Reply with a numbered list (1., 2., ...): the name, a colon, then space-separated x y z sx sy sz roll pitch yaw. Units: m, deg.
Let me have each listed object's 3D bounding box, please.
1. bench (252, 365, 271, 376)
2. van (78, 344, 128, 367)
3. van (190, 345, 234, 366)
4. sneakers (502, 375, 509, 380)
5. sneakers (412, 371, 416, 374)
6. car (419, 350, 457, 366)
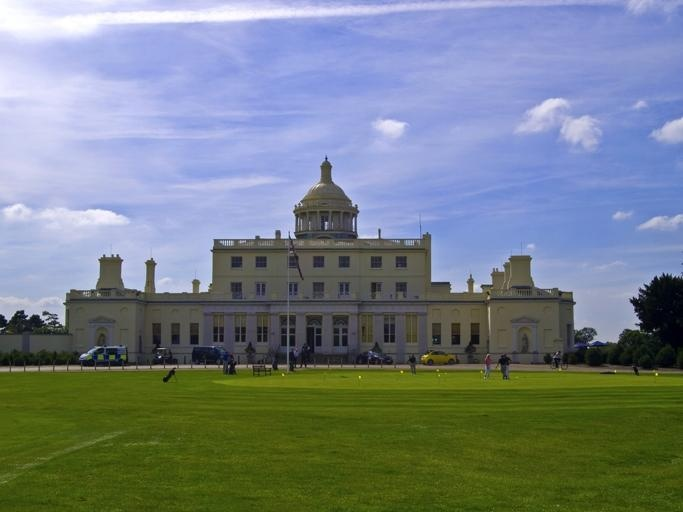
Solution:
1. bench: -5.321 7.631 82.975 1.503 0.888 0.939 1 -15 -6
2. van: -19.376 7.935 100.191 3.694 1.637 1.961 3 -6 -17
3. van: -11.148 8.420 105.666 4.346 1.962 2.708 -1 -5 8
4. sneakers: 9.936 7.145 73.271 0.203 0.257 0.275 0 -21 6
5. sneakers: 4.908 7.588 80.937 0.198 0.305 0.210 0 -4 7
6. car: 8.351 8.474 103.943 2.523 0.806 1.260 -2 0 -5
